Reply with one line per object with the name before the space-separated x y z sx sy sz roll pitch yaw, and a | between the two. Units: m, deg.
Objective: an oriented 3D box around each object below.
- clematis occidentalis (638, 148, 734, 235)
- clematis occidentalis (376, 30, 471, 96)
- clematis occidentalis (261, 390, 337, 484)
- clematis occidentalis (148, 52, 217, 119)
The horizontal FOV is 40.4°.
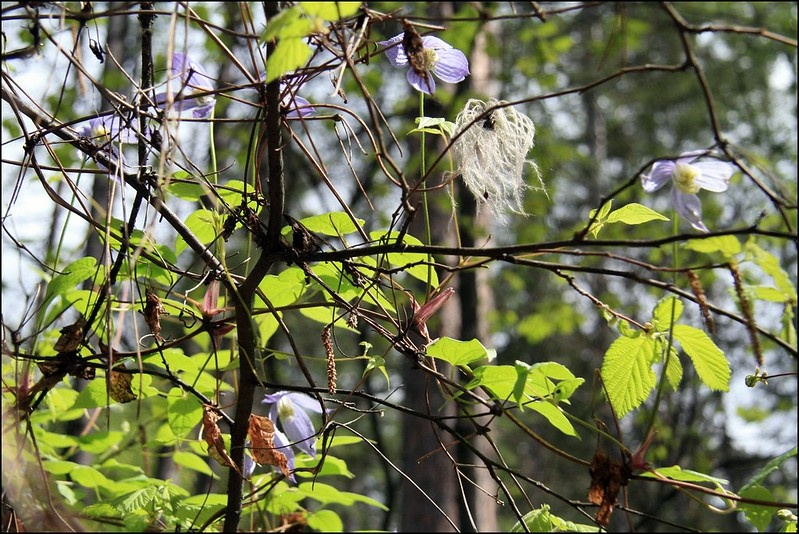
clematis occidentalis | 2.021 -0.620 7.877 0.625 0.564 0.226 69 -16 -13
clematis occidentalis | 0.107 -1.491 7.822 0.688 0.322 0.811 4 12 -24
clematis occidentalis | -0.810 1.205 7.987 0.452 0.539 0.481 11 -34 -3
clematis occidentalis | -1.601 -1.281 7.956 0.197 0.379 0.467 33 -16 5
